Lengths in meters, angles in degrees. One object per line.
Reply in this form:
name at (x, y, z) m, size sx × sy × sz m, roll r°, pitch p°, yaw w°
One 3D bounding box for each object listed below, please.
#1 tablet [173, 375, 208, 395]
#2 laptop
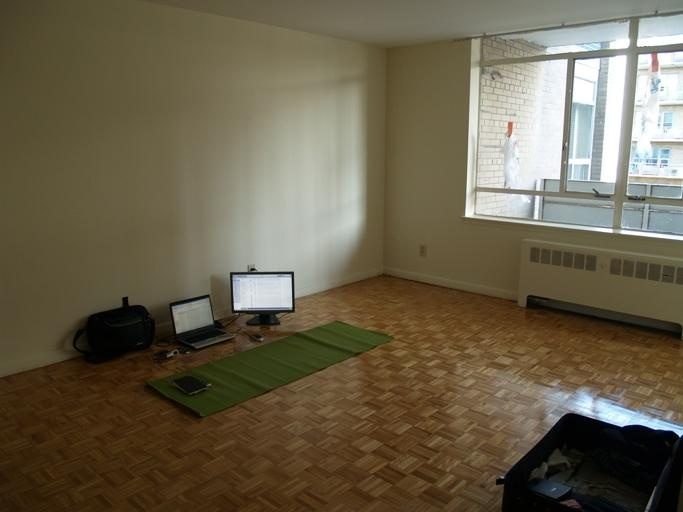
tablet at (-1.172, 1.013, 3.825) m, size 0.228 × 0.069 × 0.243 m, roll -11°, pitch 17°, yaw -36°
laptop at (-1.365, 0.644, 4.660) m, size 0.374 × 0.516 × 0.527 m, roll -11°, pitch -6°, yaw 44°
